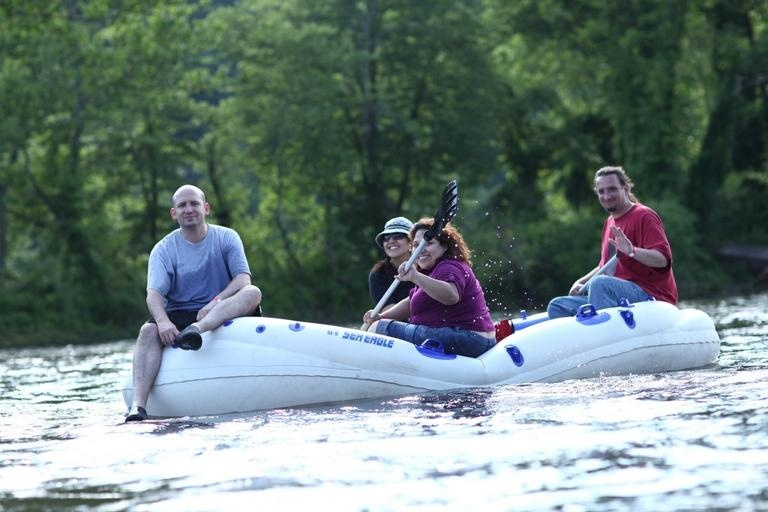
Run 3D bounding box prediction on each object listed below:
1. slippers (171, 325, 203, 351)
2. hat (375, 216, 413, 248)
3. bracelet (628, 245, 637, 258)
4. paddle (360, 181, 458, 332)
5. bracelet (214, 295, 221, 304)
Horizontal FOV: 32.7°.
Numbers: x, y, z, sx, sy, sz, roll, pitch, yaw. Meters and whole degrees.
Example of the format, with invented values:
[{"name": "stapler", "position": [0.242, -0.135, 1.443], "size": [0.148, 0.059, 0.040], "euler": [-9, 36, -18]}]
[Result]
[{"name": "slippers", "position": [-2.629, 1.093, 17.852], "size": [0.395, 0.263, 0.406], "euler": [-20, 9, -13]}, {"name": "hat", "position": [0.201, -0.443, 18.859], "size": [0.435, 0.232, 0.480], "euler": [-2, -1, 35]}, {"name": "bracelet", "position": [3.544, -0.066, 18.497], "size": [0.101, 0.142, 0.046], "euler": [11, -2, -16]}, {"name": "paddle", "position": [0.369, 0.038, 20.699], "size": [0.437, 3.295, 0.466], "euler": [35, 3, -22]}, {"name": "bracelet", "position": [-2.278, 0.588, 18.070], "size": [0.074, 0.081, 0.028], "euler": [6, -16, 16]}]
